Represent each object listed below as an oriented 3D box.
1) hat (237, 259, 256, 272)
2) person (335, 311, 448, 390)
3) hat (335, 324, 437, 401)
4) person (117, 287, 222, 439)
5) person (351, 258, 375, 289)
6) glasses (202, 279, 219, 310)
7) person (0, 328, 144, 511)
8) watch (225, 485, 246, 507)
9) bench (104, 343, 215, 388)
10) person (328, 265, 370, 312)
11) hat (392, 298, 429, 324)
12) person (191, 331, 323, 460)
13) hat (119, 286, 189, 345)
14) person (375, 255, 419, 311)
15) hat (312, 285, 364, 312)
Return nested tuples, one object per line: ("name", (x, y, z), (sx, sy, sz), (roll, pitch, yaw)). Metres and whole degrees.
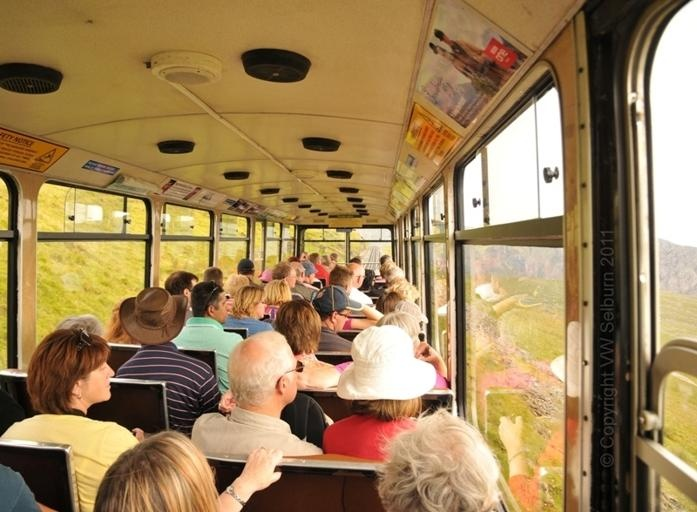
("hat", (-1.899, 0.215, 9.741), (0.234, 0.285, 0.290), (5, -5, -8))
("person", (0.428, 0.810, 4.629), (0.734, 0.321, 0.806), (-10, 9, -36))
("hat", (0.212, 0.590, 3.109), (0.633, 0.343, 0.721), (-5, 3, 20))
("person", (-1.414, 0.870, 4.001), (0.803, 1.285, 0.653), (-2, 7, -10))
("person", (0.394, 0.406, 12.019), (0.600, 0.761, 0.796), (3, -1, 24))
("glasses", (-1.225, 0.350, 4.760), (0.054, 0.181, 0.176), (7, 0, -28))
("person", (-1.417, 0.859, 2.711), (0.596, 0.963, 0.514), (9, 19, 16))
("watch", (-0.481, 1.030, 2.237), (0.047, 0.082, 0.073), (-43, 13, -27))
("bench", (-1.511, 1.003, 4.255), (0.935, 0.559, 0.065), (0, 8, 8))
("person", (-0.093, 0.439, 7.472), (0.409, 0.707, 0.319), (22, 36, -20))
("hat", (0.646, 0.587, 5.290), (0.374, 0.230, 0.264), (3, 2, -16))
("person", (-0.487, 0.798, 2.963), (0.819, 0.703, 0.566), (3, 3, 24))
("hat", (-1.533, 0.395, 4.149), (0.510, 0.198, 0.597), (-5, 39, -26))
("person", (0.821, 0.422, 8.679), (0.491, 0.554, 1.558), (17, -6, 11))
("hat", (-0.103, 0.443, 5.216), (0.282, 0.177, 0.444), (5, -1, 41))
